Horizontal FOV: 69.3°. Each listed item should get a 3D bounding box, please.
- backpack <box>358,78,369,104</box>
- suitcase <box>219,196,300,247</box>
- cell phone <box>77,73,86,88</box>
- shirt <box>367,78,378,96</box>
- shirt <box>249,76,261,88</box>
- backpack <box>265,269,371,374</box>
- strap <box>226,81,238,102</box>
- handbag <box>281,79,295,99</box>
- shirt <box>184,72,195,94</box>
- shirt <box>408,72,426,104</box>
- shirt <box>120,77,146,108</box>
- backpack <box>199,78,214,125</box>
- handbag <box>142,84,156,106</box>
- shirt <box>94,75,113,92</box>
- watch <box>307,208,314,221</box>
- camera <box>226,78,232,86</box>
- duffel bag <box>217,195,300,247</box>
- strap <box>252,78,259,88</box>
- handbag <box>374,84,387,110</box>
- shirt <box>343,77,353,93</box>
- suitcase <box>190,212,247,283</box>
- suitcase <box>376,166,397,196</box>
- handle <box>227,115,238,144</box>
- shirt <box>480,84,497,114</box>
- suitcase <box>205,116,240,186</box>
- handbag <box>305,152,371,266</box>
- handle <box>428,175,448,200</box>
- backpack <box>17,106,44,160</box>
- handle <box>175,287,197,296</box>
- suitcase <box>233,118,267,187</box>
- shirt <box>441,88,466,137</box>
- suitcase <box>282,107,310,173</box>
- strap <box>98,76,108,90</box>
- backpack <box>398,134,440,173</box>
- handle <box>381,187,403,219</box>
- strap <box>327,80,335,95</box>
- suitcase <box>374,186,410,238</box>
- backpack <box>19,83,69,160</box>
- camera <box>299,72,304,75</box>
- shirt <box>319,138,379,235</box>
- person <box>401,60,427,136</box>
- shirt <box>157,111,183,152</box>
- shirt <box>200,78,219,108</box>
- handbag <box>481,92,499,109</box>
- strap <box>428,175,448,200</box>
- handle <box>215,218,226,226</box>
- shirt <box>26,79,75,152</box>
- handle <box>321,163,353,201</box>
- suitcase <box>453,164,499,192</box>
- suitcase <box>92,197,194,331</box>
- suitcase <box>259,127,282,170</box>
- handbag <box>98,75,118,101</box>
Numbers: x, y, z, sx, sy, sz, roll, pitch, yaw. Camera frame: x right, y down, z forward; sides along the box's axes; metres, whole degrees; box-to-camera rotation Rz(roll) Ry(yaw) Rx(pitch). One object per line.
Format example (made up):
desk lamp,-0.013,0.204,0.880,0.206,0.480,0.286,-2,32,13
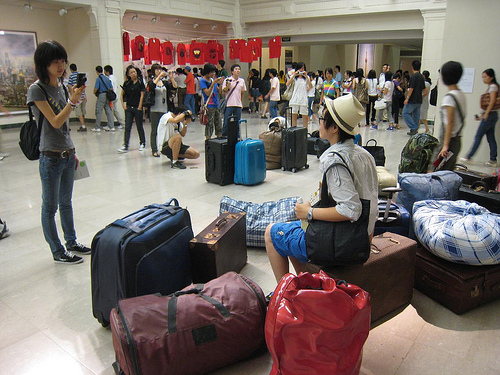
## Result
backpack,3.572,-2.969,11.209,0.173,0.693,0.419,-6,18,-16
suitcase,0.095,0.282,3.695,0.530,0.208,0.592,0,11,12
cell phone,-1.350,-0.845,2.869,0.091,0.103,0.022,5,1,42
shirt,3.759,-3.091,11.096,0.381,0.565,0.305,2,27,10
shirt,0.190,-4.137,14.169,0.515,0.559,0.289,5,23,13
backpack,0.361,0.733,1.928,0.495,0.643,0.348,-1,9,-13
strap,-0.387,-2.033,7.581,0.043,0.441,0.063,33,6,34
handbag,0.979,-2.510,9.266,0.322,0.460,0.251,1,17,5
shirt,-2.061,-3.502,12.196,0.306,0.674,0.483,-3,17,-8
shirt,4.197,-2.510,9.142,0.550,0.747,0.254,-7,10,-31
shirt,-2.345,-1.888,7.256,0.463,0.552,0.319,-5,17,-12
backpack,-0.892,-1.645,7.374,0.270,0.747,0.598,-1,17,1
handbag,-1.953,-1.770,6.943,0.167,0.460,0.305,-7,28,-29
shirt,-3.985,-2.812,9.793,0.416,0.434,0.238,-18,37,-18
watch,0.368,0.169,2.229,0.038,0.067,0.061,5,18,17
camera,-0.459,-2.203,7.526,0.082,0.178,0.117,12,19,28
duffel bag,0.113,0.284,3.683,0.523,0.212,0.607,0,14,12
strap,0.205,-4.056,14.062,0.282,0.339,0.095,-11,19,-29
handbag,3.732,-2.551,10.248,0.310,0.699,1.151,5,19,20
shirt,3.191,-3.312,11.801,0.259,0.502,1.332,3,18,13
suitcase,-0.231,0.505,2.969,0.196,0.533,0.635,1,17,22
suitcase,1.481,-0.064,3.934,0.193,0.149,0.433,0,19,10
handle,-0.263,-0.844,5.321,0.045,0.611,0.241,15,26,33
shirt,3.911,-1.434,5.865,0.197,0.463,0.260,10,20,33
suitcase,-0.417,-0.579,5.543,0.534,0.984,0.457,-12,18,-42
handbag,0.520,0.051,2.226,0.466,0.814,0.416,1,42,5
handle,1.782,-0.015,3.482,0.143,0.258,0.241,8,22,36
backpack,-1.852,-0.433,3.050,0.270,0.401,0.142,12,21,36
handle,-0.397,0.628,2.191,0.068,0.031,0.052,-11,4,-2
suitcase,0.000,-0.528,5.441,0.307,0.958,0.426,10,21,34
shirt,2.307,-0.832,4.107,0.368,0.525,0.256,-19,18,-29
suitcase,0.789,-0.660,6.209,0.478,0.745,0.303,-3,17,-8
strap,-3.998,-2.841,9.772,0.043,0.458,0.063,-16,30,14
backpack,2.250,-0.392,4.903,0.328,0.666,0.455,-5,19,-8
handle,1.203,0.118,3.078,0.099,0.267,0.280,10,21,33
strap,2.557,-3.177,11.492,0.367,0.404,0.118,5,17,10
suitcase,1.189,0.237,3.238,0.372,0.421,0.402,3,21,15
backpack,-1.857,-0.577,3.127,0.311,0.634,0.373,8,14,25
camera,1.309,-2.939,9.319,0.092,0.093,0.050,-2,18,-1
shirt,0.637,0.009,2.265,0.423,0.624,0.298,-12,20,-32
person,4.366,-2.354,9.578,0.486,1.881,1.512,7,19,25
shirt,-1.366,-0.985,6.420,0.421,0.682,0.460,8,-3,32
shirt,-0.847,-2.007,7.623,0.289,0.610,0.464,8,19,36
handbag,3.871,-1.423,5.851,0.274,0.207,0.342,-8,13,-42
strap,1.786,-0.014,3.482,0.142,0.257,0.239,7,22,35
handle,-0.241,0.272,2.939,0.026,0.051,0.136,7,19,21
shirt,-1.687,-0.600,3.022,0.295,0.588,0.272,-10,19,-28
handle,0.515,-0.040,2.115,0.184,0.310,0.117,2,8,13
suitcase,2.488,-0.124,3.983,0.342,0.115,0.249,29,30,31
suitcase,-0.741,0.494,2.600,0.369,0.754,0.753,16,25,22
suitcase,0.417,-0.713,6.409,0.506,0.995,0.653,-2,12,0
handbag,-3.896,-2.680,9.827,0.258,0.760,0.204,-30,-13,-4
